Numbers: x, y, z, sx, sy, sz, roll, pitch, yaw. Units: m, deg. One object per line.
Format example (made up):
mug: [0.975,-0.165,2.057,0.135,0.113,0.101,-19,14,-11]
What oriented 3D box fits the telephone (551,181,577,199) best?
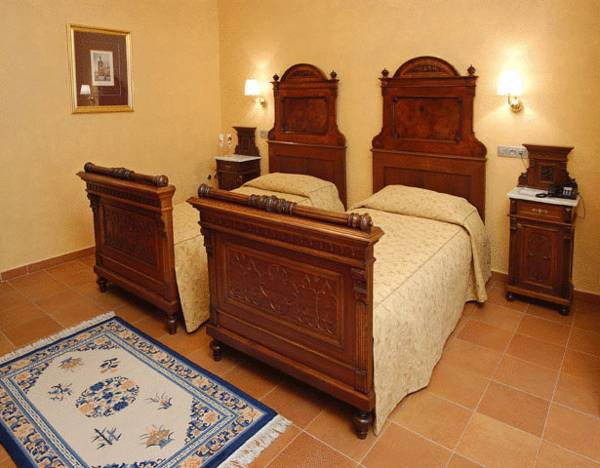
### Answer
telephone: [2.696,-0.447,4.497,0.268,0.128,0.221,-17,25,-42]

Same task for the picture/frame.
picture/frame: [-2.693,-2.216,5.869,0.068,1.474,1.094,12,18,35]
